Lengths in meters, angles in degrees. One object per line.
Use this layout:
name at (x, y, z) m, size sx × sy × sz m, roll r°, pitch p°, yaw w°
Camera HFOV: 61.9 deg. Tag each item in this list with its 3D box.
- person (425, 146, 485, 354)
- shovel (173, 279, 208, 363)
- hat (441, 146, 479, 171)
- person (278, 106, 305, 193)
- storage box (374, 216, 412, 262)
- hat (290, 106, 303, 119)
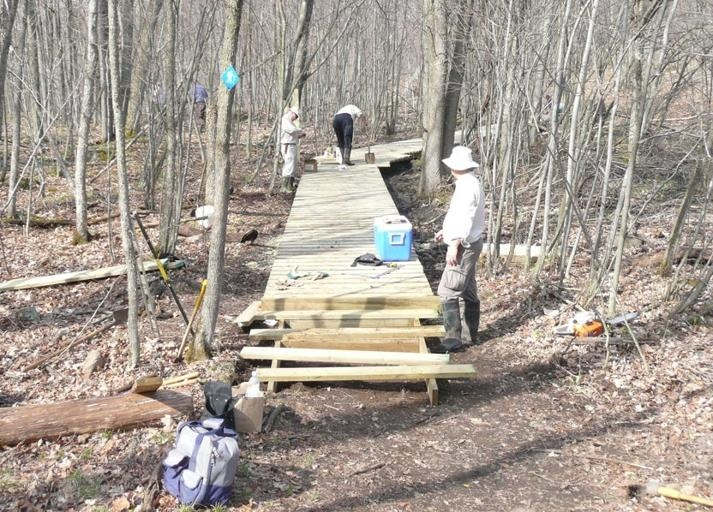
person at (1.228, -0.038, 7.063) m, size 0.474 × 2.404 × 0.608 m, roll 7°, pitch 19°, yaw 22°
shovel at (-2.040, 0.835, 7.311) m, size 0.137 × 0.997 × 0.144 m, roll 30°, pitch 1°, yaw 43°
hat at (1.212, -1.134, 7.018) m, size 0.377 × 0.187 × 0.360 m, roll 3°, pitch 20°, yaw 21°
person at (-1.476, -2.388, 13.672) m, size 0.521 × 1.980 × 1.113 m, roll -2°, pitch 17°, yaw -6°
storage box at (0.564, -0.249, 8.930) m, size 0.553 × 0.624 × 0.447 m, roll 1°, pitch 17°, yaw 1°
hat at (-1.315, -3.242, 13.330) m, size 0.297 × 0.131 × 0.346 m, roll 34°, pitch -5°, yaw 6°
